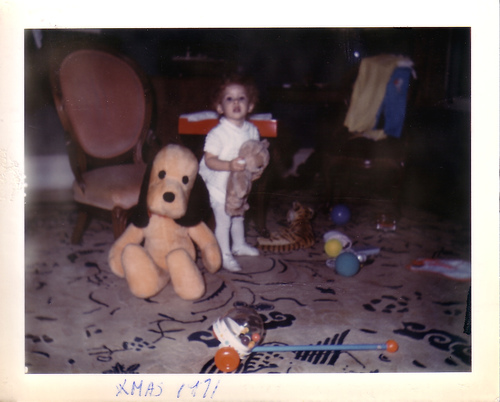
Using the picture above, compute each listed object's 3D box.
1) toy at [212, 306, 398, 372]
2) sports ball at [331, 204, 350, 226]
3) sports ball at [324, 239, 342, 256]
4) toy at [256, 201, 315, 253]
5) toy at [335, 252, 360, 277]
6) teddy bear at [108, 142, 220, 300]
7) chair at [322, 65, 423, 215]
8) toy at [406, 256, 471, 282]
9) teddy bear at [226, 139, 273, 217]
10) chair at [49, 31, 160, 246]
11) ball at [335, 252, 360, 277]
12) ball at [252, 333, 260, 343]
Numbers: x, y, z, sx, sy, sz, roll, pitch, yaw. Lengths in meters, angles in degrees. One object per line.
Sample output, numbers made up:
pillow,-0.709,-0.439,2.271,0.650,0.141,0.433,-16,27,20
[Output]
toy,0.238,0.720,2.296,0.951,0.306,0.319,1,53,-2
sports ball,0.722,0.130,3.795,0.146,0.167,0.146,4,-18,1
sports ball,0.565,0.315,3.104,0.103,0.120,0.103,0,5,0
toy,0.303,0.197,3.320,0.311,0.265,0.515,12,20,27
toy,0.596,0.401,2.869,0.141,0.140,0.163,2,-10,6
teddy bear,-0.478,0.093,2.590,0.600,0.774,0.360,-11,22,-35
chair,1.162,-0.680,4.453,0.964,1.281,1.844,7,19,14
toy,1.259,0.441,3.030,0.357,0.061,0.217,4,12,23
teddy bear,-0.032,-0.129,2.873,0.272,0.322,0.510,-10,47,23
chair,-0.862,-0.241,3.065,0.724,1.391,0.660,17,24,29
ball,0.620,0.413,2.913,0.169,0.196,0.168,0,-3,0
ball,0.027,0.644,2.141,0.038,0.038,0.038,3,-12,1
